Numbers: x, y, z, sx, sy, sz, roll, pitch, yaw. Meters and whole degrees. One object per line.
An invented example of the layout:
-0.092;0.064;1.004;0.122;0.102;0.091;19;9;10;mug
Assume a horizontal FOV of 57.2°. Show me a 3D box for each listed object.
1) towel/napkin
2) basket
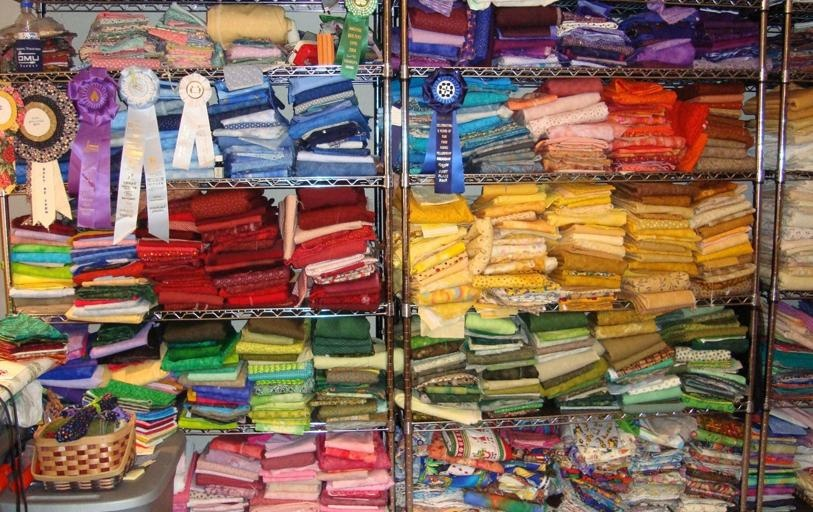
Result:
-0.124;-0.093;4.772;3.823;3.263;1.146;-1;6;4;towel/napkin
-1.725;1.059;4.101;0.511;0.244;0.621;-3;4;-12;basket
